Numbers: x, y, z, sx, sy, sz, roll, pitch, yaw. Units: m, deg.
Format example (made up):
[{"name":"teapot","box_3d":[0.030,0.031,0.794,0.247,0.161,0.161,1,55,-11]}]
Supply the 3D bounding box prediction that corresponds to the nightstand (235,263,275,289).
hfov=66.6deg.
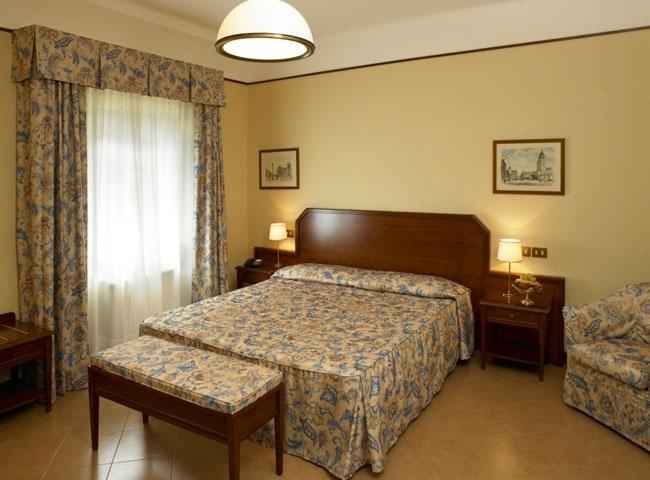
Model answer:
[{"name":"nightstand","box_3d":[-1.070,0.521,7.440,0.459,0.473,0.364,6,9,36]}]

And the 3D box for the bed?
[{"name":"bed","box_3d":[0.310,0.846,5.529,2.686,1.920,2.791,4,8,34]}]

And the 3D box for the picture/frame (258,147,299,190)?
[{"name":"picture/frame","box_3d":[-0.686,-1.086,7.522,0.589,0.554,0.026,3,4,31]}]

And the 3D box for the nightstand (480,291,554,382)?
[{"name":"nightstand","box_3d":[2.250,1.046,5.837,0.755,0.873,0.617,2,17,25]}]

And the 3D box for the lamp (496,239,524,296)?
[{"name":"lamp","box_3d":[2.182,0.322,5.890,0.269,0.669,0.448,6,10,21]}]
